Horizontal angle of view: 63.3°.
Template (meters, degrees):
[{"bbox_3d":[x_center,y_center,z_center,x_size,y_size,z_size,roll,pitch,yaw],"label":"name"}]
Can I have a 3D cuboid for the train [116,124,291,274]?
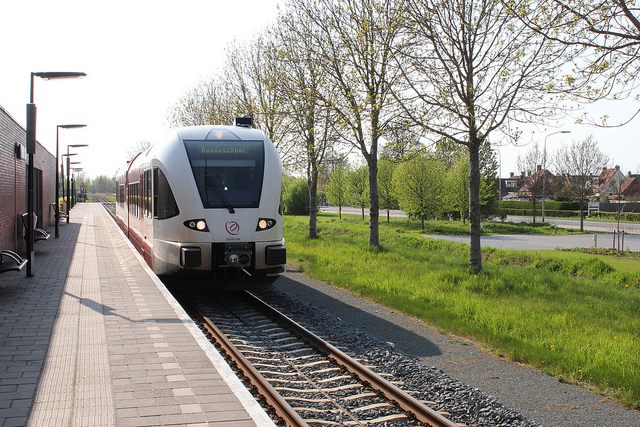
[{"bbox_3d":[-2.465,-0.331,12.477,3.201,3.541,1.615,0,7,-5],"label":"train"}]
